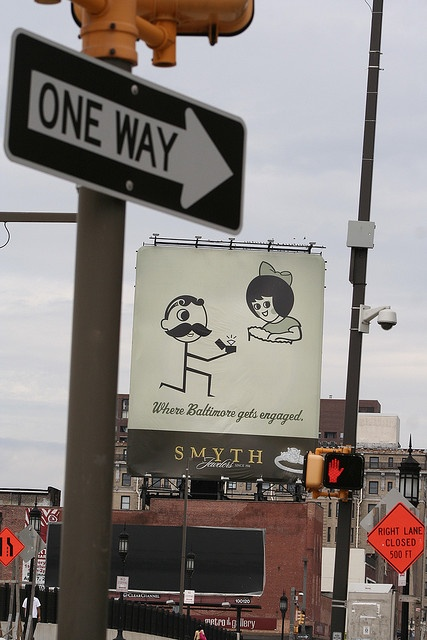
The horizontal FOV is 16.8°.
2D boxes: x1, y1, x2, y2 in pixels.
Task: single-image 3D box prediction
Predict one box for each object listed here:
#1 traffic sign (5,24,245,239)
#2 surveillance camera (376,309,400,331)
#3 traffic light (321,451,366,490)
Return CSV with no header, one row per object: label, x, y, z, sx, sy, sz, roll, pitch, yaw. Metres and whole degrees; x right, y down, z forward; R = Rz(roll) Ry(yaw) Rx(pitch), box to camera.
traffic sign,-0.281,-0.631,4.870,0.986,0.480,0.052,11,-13,-40
surveillance camera,1.771,-0.040,15.067,0.194,0.254,0.207,2,-9,-5
traffic light,1.357,1.608,15.519,0.458,0.467,0.062,1,-7,7
